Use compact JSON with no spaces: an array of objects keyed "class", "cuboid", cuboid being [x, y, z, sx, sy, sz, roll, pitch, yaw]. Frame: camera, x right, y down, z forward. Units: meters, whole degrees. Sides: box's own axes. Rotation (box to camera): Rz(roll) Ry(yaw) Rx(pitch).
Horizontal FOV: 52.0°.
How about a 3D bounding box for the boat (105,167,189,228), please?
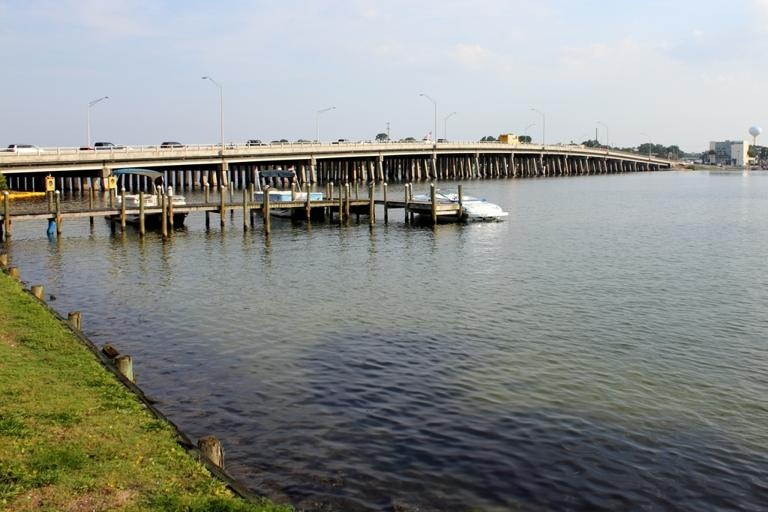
[{"class":"boat","cuboid":[-29.010,-8.683,95.408,5.687,4.087,94.820,-1,7,-17]}]
